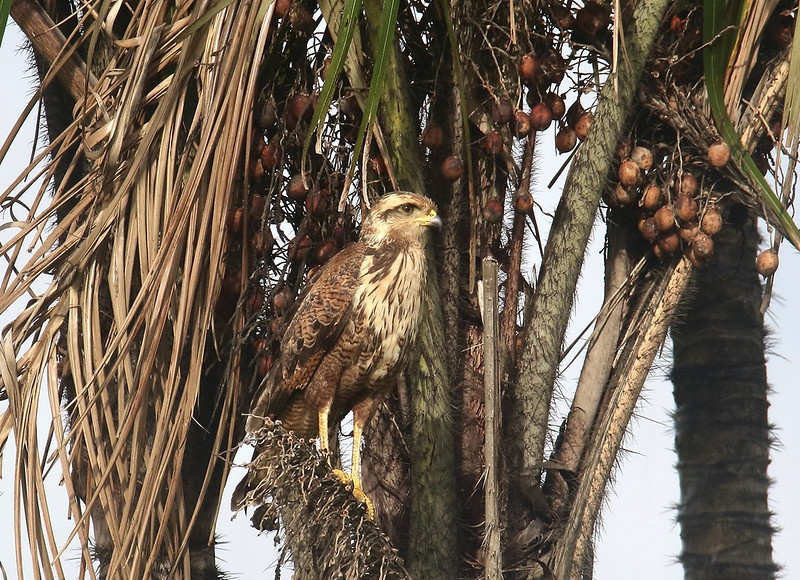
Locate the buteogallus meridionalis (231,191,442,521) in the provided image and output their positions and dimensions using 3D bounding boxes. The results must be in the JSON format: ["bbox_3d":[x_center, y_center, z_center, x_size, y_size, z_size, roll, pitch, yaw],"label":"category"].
[{"bbox_3d":[-0.255,0.312,14.162,0.579,1.434,1.143,26,-39,-34],"label":"buteogallus meridionalis"}]
